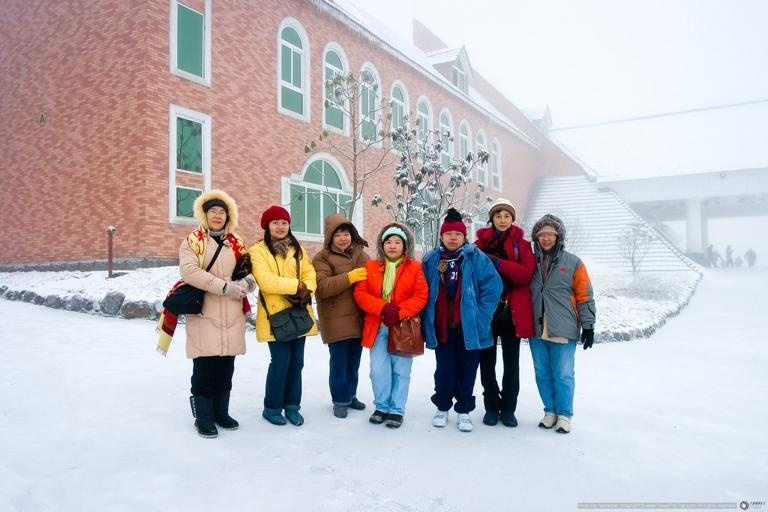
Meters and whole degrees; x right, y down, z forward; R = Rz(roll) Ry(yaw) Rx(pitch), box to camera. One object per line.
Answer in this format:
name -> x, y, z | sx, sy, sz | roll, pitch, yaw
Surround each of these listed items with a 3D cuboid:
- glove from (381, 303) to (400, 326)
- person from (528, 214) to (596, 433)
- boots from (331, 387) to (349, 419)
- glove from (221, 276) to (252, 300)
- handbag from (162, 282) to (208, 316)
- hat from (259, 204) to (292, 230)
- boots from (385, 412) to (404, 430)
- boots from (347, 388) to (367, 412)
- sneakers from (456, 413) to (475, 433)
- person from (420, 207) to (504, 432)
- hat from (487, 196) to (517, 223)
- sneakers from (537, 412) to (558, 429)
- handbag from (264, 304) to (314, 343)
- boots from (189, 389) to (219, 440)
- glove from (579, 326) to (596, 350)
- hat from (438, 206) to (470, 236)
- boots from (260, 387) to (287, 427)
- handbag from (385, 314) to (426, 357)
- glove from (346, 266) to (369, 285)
glove -> 0.079, 0.706, 5.985 | 0.244, 0.285, 0.142 | 5, 6, 11
person -> 2.144, 0.805, 6.121 | 0.816, 2.598, 0.680 | 6, 7, 24
boots -> -0.555, 1.813, 6.172 | 0.208, 0.325, 0.200 | 3, 6, -3
glove -> -1.607, 0.357, 5.486 | 0.201, 0.121, 0.264 | -5, 2, -38
handbag -> -2.172, 0.471, 5.401 | 0.415, 0.373, 0.185 | 3, 6, -2
hat -> -1.315, -0.501, 6.029 | 0.365, 0.302, 0.323 | -8, -1, 24
boots -> 0.133, 1.961, 5.998 | 0.214, 0.150, 0.216 | 3, 6, -1
boots -> -0.360, 1.916, 6.557 | 0.318, 0.307, 0.146 | 0, -2, 5
sneakers -> 0.970, 1.983, 5.928 | 0.172, 0.177, 0.152 | 4, 6, 10
person -> 0.914, 0.761, 6.057 | 0.960, 2.651, 0.589 | 4, 6, 11
hat -> 1.553, -0.639, 6.566 | 0.426, 0.502, 0.277 | 1, 0, 3
sneakers -> 2.008, 2.011, 6.074 | 0.117, 0.128, 0.304 | -5, -11, 32
handbag -> -1.116, 0.766, 5.759 | 0.388, 0.277, 0.159 | -16, -9, -27
boots -> -1.977, 1.713, 5.493 | 0.245, 0.325, 0.750 | -3, 11, -30
glove -> 2.451, 0.995, 6.004 | 0.142, 0.278, 0.278 | 6, 7, 20
hat -> 0.862, -0.432, 6.283 | 0.268, 0.343, 0.365 | 0, 1, 7
boots -> -1.269, 1.816, 5.873 | 0.361, 0.358, 0.185 | 6, 3, 41
handbag -> 0.295, 0.960, 6.077 | 0.429, 0.548, 0.264 | 7, -24, -15
glove -> -0.328, 0.246, 6.139 | 0.261, 0.197, 0.124 | 1, 6, -19
